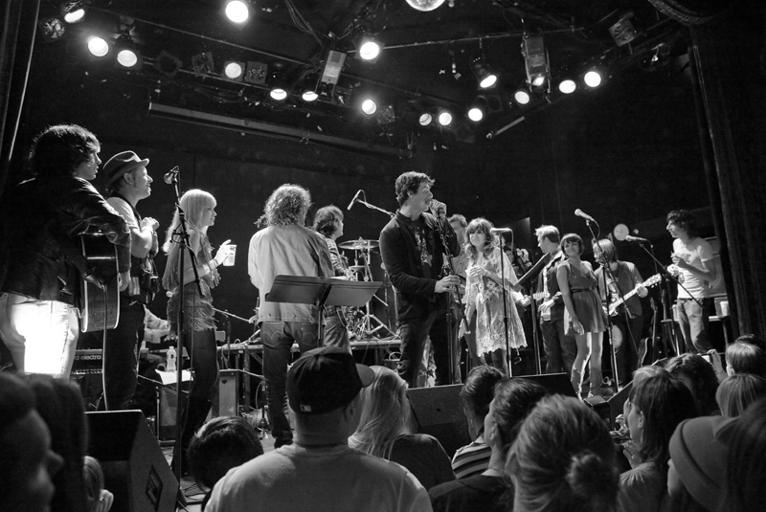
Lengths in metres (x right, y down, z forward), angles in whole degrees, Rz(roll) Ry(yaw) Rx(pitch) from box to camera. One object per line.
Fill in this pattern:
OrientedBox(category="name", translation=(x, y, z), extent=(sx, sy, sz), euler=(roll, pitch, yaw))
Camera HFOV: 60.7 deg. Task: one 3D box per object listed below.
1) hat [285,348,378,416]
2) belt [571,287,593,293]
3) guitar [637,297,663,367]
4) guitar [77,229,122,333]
OrientedBox(category="hat", translation=(-0.248, 0.558, 2.897), extent=(0.237, 0.165, 0.319), euler=(3, 25, 27))
OrientedBox(category="belt", translation=(2.288, 0.402, 7.546), extent=(0.230, 0.061, 0.043), euler=(0, -14, 1))
OrientedBox(category="guitar", translation=(4.043, 1.180, 9.870), extent=(0.550, 1.010, 0.264), euler=(-6, 9, -12))
OrientedBox(category="guitar", translation=(-1.874, 0.157, 4.309), extent=(0.296, 0.853, 0.612), euler=(1, -6, -30))
